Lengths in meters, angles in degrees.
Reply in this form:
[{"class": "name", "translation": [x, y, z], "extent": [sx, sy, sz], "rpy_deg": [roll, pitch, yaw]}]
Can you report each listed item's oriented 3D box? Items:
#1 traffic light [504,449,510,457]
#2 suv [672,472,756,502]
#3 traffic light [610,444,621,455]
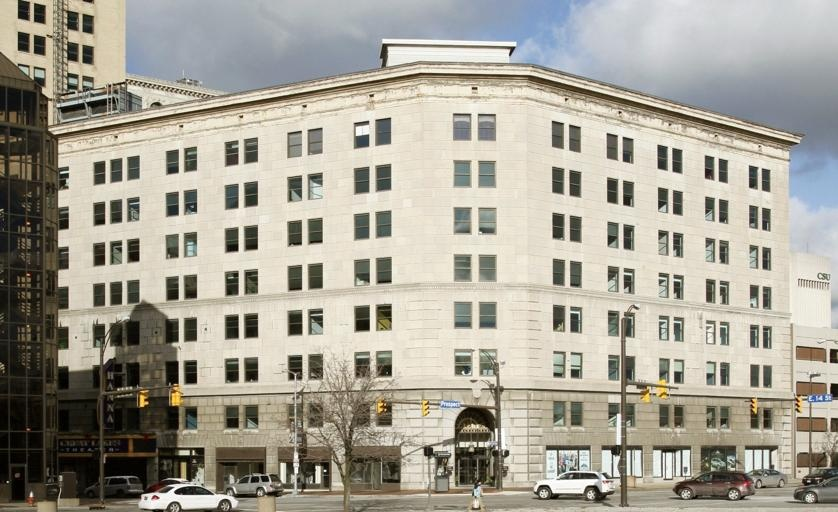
[{"class": "traffic light", "translation": [9.467, 21.449, 227.940], "extent": [0.415, 0.776, 1.467], "rpy_deg": [-4, -16, 14]}, {"class": "suv", "translation": [30.559, 23.784, 215.766], "extent": [7.695, 2.128, 3.144], "rpy_deg": [1, -9, 9]}, {"class": "traffic light", "translation": [21.830, 21.673, 234.019], "extent": [1.011, 1.055, 1.190], "rpy_deg": [-4, -17, 12]}]
